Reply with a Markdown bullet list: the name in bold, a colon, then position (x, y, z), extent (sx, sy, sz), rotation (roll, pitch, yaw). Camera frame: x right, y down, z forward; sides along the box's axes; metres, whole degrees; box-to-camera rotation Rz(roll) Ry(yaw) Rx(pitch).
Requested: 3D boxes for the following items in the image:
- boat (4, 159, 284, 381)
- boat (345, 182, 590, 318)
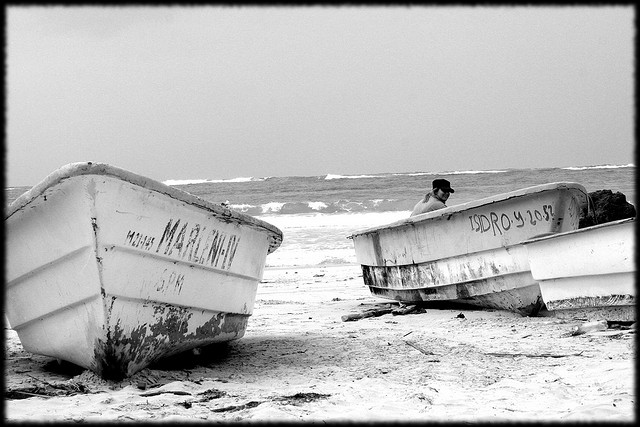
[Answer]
- **boat**: position (-1.541, 0.603, 5.962), extent (2.090, 1.180, 2.926), rotation (-20, -30, 32)
- **boat**: position (1.946, 0.768, 8.217), extent (1.618, 1.159, 3.479), rotation (5, -16, -35)
